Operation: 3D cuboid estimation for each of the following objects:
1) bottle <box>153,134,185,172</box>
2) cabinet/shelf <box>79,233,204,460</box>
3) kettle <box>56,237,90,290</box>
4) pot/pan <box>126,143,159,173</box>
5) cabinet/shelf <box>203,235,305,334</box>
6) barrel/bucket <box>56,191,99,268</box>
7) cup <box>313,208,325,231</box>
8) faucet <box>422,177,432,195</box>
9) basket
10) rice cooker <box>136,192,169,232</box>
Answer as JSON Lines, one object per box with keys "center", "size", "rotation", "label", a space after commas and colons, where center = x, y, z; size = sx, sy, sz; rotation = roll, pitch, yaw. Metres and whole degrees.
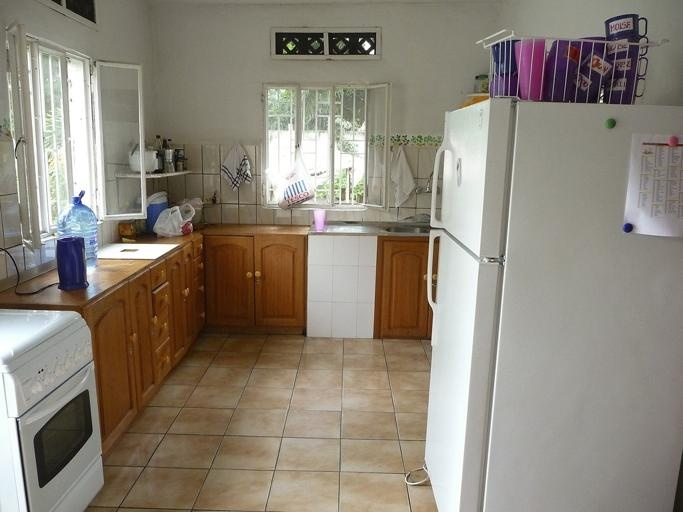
{"center": [-1.577, -0.947, 4.918], "size": [0.265, 0.315, 0.624], "rotation": [-5, 13, -15], "label": "bottle"}
{"center": [-1.292, 0.605, 3.393], "size": [0.391, 0.638, 1.256], "rotation": [-1, 15, -4], "label": "cabinet/shelf"}
{"center": [-1.519, 0.044, 2.982], "size": [0.150, 0.290, 0.097], "rotation": [-8, 15, -30], "label": "kettle"}
{"center": [-1.594, -0.776, 4.274], "size": [0.205, 0.214, 0.156], "rotation": [-1, 0, -7], "label": "pot/pan"}
{"center": [-0.840, 0.279, 4.969], "size": [0.909, 0.897, 0.475], "rotation": [1, -15, -18], "label": "cabinet/shelf"}
{"center": [-1.705, -0.200, 3.390], "size": [0.235, 0.444, 0.232], "rotation": [7, 11, -1], "label": "barrel/bucket"}
{"center": [-0.201, -0.330, 4.791], "size": [0.090, 0.184, 0.132], "rotation": [-3, 13, -10], "label": "cup"}
{"center": [0.844, -0.682, 5.161], "size": [0.113, 0.219, 0.101], "rotation": [2, 17, 7], "label": "faucet"}
{"center": [1.002, -0.716, 2.316], "size": [0.641, 0.291, 0.443], "rotation": [2, 8, 4], "label": "basket"}
{"center": [-1.612, -0.384, 4.656], "size": [0.151, 0.339, 0.347], "rotation": [2, 13, 13], "label": "rice cooker"}
